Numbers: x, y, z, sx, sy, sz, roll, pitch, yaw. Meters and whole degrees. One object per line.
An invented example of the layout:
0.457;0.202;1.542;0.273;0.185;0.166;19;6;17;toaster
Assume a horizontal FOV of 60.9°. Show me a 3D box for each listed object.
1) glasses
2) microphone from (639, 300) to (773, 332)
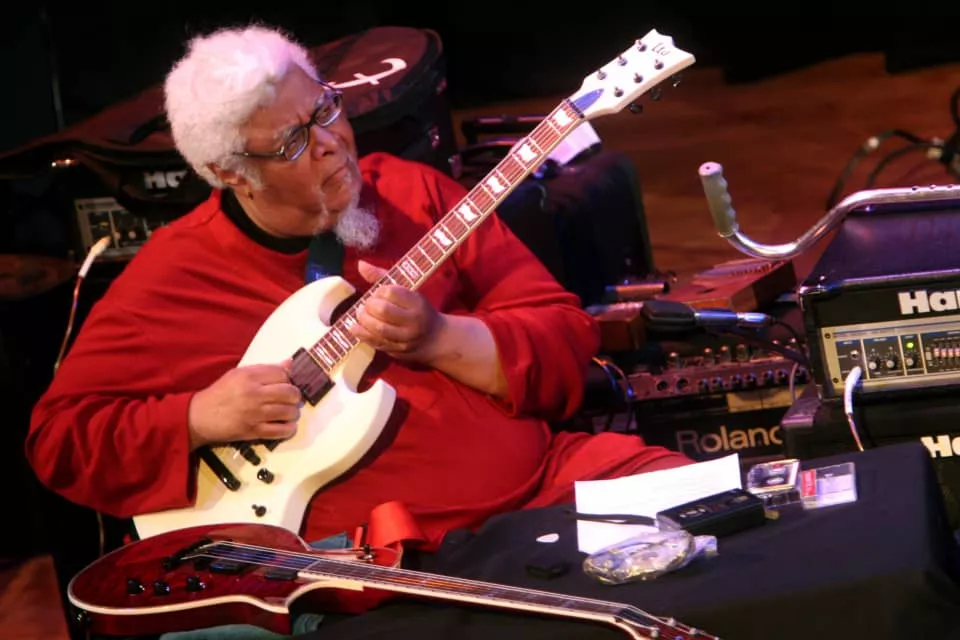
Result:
-0.510;-0.526;2.148;0.231;0.073;0.232;-41;12;-37;glasses
0.538;-0.004;2.078;0.382;0.103;0.082;0;57;6;microphone
